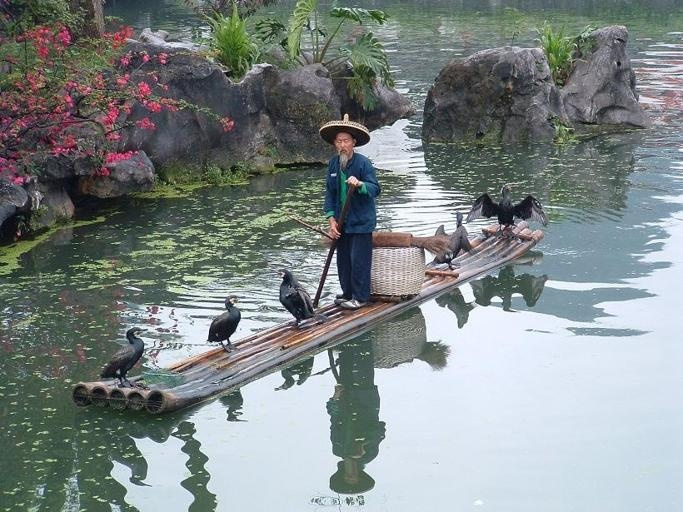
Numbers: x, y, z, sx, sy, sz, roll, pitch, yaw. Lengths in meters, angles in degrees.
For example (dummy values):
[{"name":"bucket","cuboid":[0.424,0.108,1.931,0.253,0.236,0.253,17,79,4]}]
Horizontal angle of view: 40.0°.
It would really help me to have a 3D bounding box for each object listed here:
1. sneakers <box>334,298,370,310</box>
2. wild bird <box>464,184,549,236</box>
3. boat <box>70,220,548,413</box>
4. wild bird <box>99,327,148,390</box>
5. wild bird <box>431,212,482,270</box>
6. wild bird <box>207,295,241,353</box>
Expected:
[{"name":"sneakers","cuboid":[0.096,0.546,10.664,0.273,0.094,0.148,9,-6,-37]},{"name":"wild bird","cuboid":[2.155,-0.605,12.263,1.140,0.496,0.736,4,14,15]},{"name":"boat","cuboid":[-0.571,0.620,10.634,5.025,0.300,0.733,-19,2,-32]},{"name":"wild bird","cuboid":[-2.184,1.006,9.266,0.439,0.528,0.313,-9,23,-15]},{"name":"wild bird","cuboid":[1.411,-0.210,11.775,0.739,0.294,0.649,-21,46,13]},{"name":"wild bird","cuboid":[-1.250,0.714,9.831,0.355,0.641,0.420,-6,23,-8]}]
